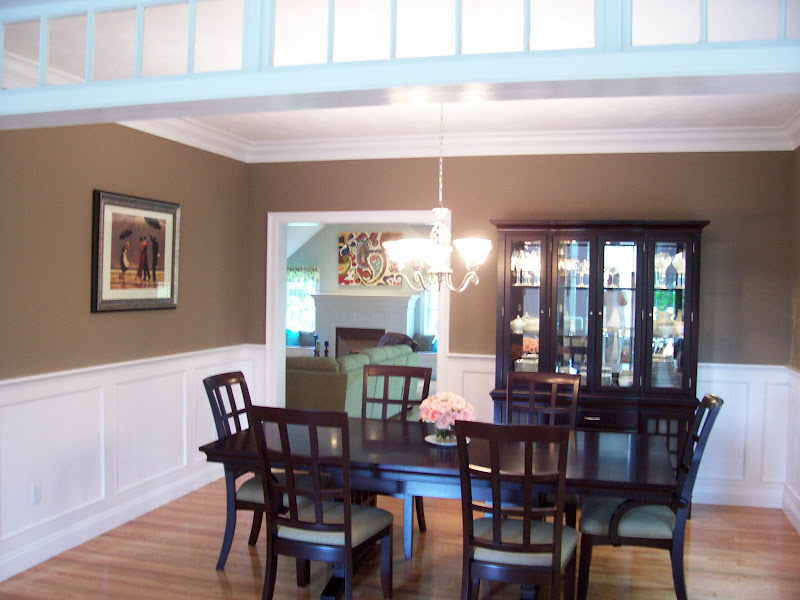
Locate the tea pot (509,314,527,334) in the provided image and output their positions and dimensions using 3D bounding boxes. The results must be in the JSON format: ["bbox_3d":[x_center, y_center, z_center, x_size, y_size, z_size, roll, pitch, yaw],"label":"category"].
[{"bbox_3d":[1.024,0.204,5.603,0.141,0.170,0.141,0,4,0],"label":"tea pot"}]

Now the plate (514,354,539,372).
[{"bbox_3d":[1.085,0.515,5.594,0.229,0.178,0.131,1,4,28],"label":"plate"}]

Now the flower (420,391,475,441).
[{"bbox_3d":[0.277,0.735,4.056,0.301,0.322,0.315,-1,3,2],"label":"flower"}]

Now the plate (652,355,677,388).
[{"bbox_3d":[2.207,0.594,5.377,0.228,0.238,0.061,1,2,-2],"label":"plate"}]

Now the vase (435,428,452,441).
[{"bbox_3d":[0.276,0.845,4.084,0.087,0.069,0.092,3,4,15],"label":"vase"}]

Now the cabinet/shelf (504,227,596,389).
[{"bbox_3d":[1.257,0.053,5.471,0.782,1.412,0.372,2,8,14],"label":"cabinet/shelf"}]

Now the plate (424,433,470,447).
[{"bbox_3d":[0.255,0.897,4.092,0.177,0.038,0.181,2,-4,-12],"label":"plate"}]

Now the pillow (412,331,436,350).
[{"bbox_3d":[0.425,0.712,10.969,0.467,0.400,0.227,4,-41,8],"label":"pillow"}]
